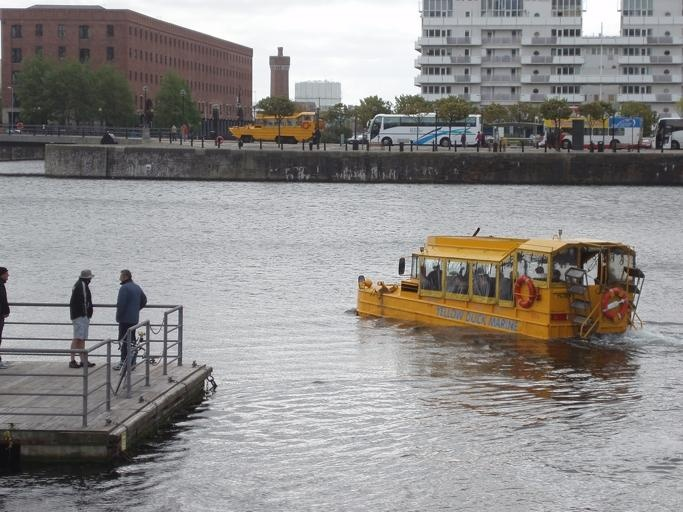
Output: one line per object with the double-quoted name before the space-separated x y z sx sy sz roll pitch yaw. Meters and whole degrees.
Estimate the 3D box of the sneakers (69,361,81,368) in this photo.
"sneakers" -8.110 3.295 48.318 0.366 0.149 0.183 0 6 -6

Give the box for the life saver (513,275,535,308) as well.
"life saver" 6.053 1.221 53.683 0.399 1.121 0.884 -8 14 -35

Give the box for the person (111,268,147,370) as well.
"person" -6.627 1.818 48.264 1.202 2.712 1.118 0 0 2

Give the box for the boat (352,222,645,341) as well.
"boat" 5.355 0.972 54.659 8.517 3.410 1.796 6 13 26

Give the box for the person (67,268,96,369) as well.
"person" -7.976 1.923 48.504 0.732 2.922 1.005 3 13 -14

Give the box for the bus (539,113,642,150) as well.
"bus" 19.593 -9.403 118.820 10.174 3.308 2.915 1 3 7

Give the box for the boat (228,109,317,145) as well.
"boat" -5.038 -9.830 124.890 9.210 3.084 3.449 0 4 0

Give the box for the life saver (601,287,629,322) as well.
"life saver" 9.011 1.584 53.223 1.085 1.014 0.331 -12 19 -37
